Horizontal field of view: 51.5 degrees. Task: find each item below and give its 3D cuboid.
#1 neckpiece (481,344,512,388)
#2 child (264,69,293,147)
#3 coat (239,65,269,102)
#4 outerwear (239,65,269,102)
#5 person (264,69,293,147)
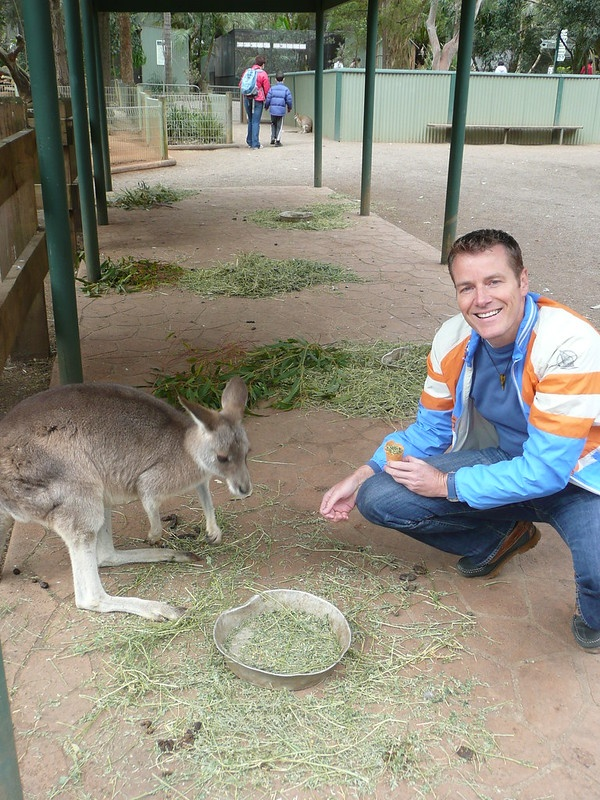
[{"bbox_3d":[0.646,-0.112,2.061,0.082,0.128,0.078,-4,-6,-2],"label":"neckpiece"},{"bbox_3d":[-0.650,-8.801,18.885,0.829,1.995,0.572,6,27,3],"label":"child"},{"bbox_3d":[-1.227,-8.903,17.506,0.584,0.940,0.866,16,25,32],"label":"coat"},{"bbox_3d":[-1.222,-8.904,17.508,0.583,0.940,0.878,16,26,33],"label":"outerwear"},{"bbox_3d":[-0.654,-8.802,18.892,0.819,2.002,0.602,3,26,-1],"label":"person"}]
